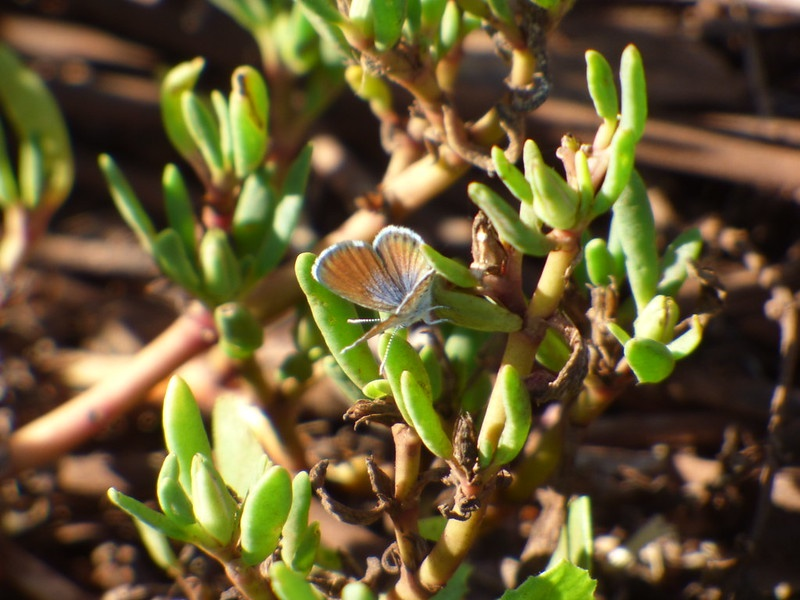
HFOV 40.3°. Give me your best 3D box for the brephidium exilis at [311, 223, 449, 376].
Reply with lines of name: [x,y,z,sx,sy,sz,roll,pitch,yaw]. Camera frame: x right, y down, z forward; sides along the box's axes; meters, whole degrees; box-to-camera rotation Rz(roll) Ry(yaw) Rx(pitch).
brephidium exilis: [-0.013,-0.026,1.661,0.182,0.097,0.177,-40,46,2]
